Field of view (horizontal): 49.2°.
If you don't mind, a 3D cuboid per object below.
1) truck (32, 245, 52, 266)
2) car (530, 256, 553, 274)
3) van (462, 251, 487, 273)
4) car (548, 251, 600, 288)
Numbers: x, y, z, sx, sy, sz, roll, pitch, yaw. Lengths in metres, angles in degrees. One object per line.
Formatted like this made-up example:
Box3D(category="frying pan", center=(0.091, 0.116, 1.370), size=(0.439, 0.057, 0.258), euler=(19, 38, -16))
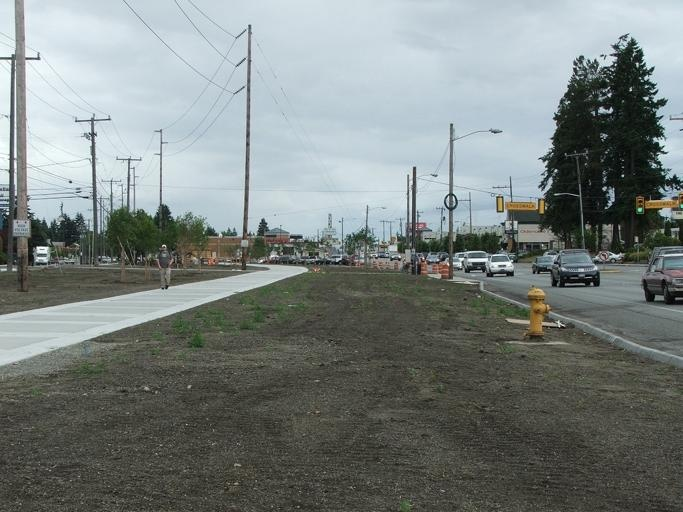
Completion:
Box3D(category="truck", center=(-37.447, -0.034, 92.925), size=(2.683, 3.324, 6.848), euler=(1, -4, -25))
Box3D(category="car", center=(14.191, 0.594, 53.077), size=(1.102, 0.974, 2.445), euler=(-1, -5, 3))
Box3D(category="van", center=(10.375, 0.397, 58.275), size=(1.146, 1.039, 2.235), euler=(0, -5, -2))
Box3D(category="car", center=(10.977, 0.534, 35.177), size=(1.918, 1.790, 3.632), euler=(-2, 0, 9))
